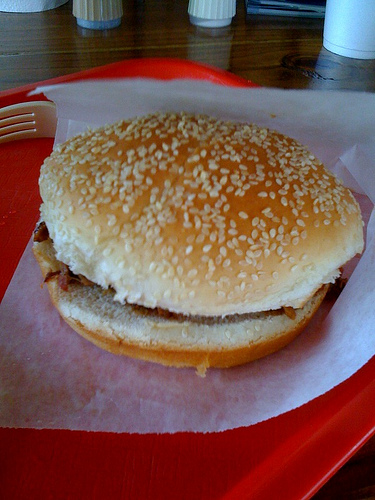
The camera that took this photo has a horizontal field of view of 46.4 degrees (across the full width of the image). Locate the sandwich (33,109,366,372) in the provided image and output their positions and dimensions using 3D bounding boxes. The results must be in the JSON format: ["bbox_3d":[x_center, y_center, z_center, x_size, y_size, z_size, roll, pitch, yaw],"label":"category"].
[{"bbox_3d":[0.011,-0.043,0.703,0.531,0.247,0.449,5,51,-1],"label":"sandwich"}]
